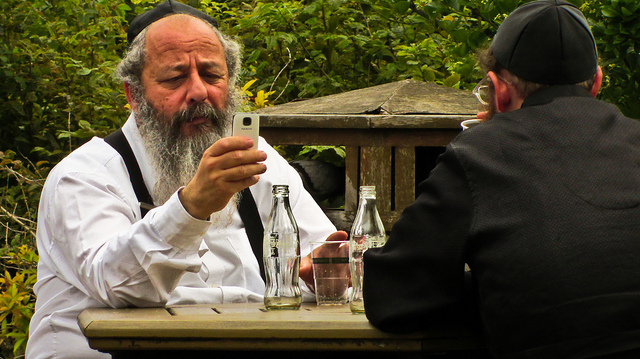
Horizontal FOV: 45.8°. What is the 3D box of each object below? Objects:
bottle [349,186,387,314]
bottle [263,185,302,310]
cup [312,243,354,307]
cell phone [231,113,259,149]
[{"bbox_3d":[0.304,0.393,4.368,0.257,0.742,0.239,1,-6,0],"label":"bottle"},{"bbox_3d":[-0.199,0.392,4.308,0.253,0.661,0.235,0,-7,0],"label":"bottle"},{"bbox_3d":[0.086,0.545,4.464,0.397,0.406,0.344,0,-1,3],"label":"cup"},{"bbox_3d":[-0.402,-0.269,4.204,0.151,0.207,0.079,-5,11,-7],"label":"cell phone"}]
